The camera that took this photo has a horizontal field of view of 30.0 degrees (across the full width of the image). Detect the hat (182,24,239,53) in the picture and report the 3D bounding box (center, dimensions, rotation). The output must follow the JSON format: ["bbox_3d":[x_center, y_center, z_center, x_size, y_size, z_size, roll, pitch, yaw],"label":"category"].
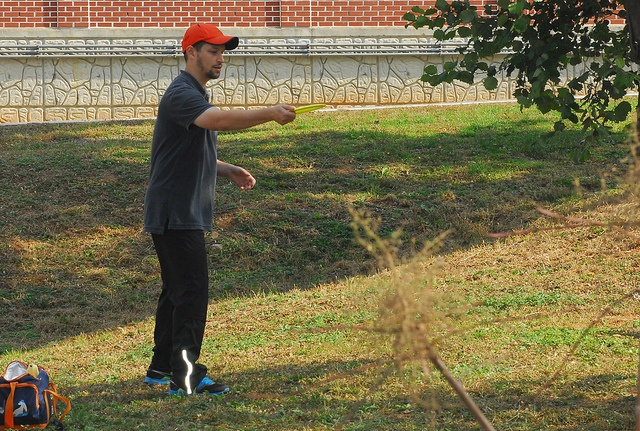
[{"bbox_3d":[-1.463,-2.398,16.042,0.666,0.271,0.387,0,7,3],"label":"hat"}]

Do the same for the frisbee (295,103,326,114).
[{"bbox_3d":[-0.144,-1.389,15.473,0.376,0.113,0.570,-1,6,2],"label":"frisbee"}]
